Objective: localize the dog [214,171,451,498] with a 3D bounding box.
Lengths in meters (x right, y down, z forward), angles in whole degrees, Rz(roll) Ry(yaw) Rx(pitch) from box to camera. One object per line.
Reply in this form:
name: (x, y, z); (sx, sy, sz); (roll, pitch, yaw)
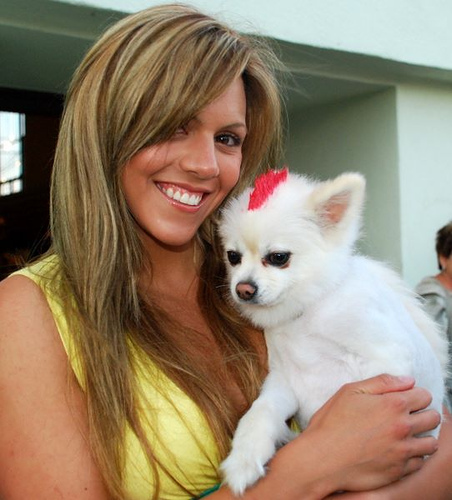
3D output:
dog: (0.399, 0.230, 2.106); (0.841, 1.035, 0.697); (2, 5, -6)
